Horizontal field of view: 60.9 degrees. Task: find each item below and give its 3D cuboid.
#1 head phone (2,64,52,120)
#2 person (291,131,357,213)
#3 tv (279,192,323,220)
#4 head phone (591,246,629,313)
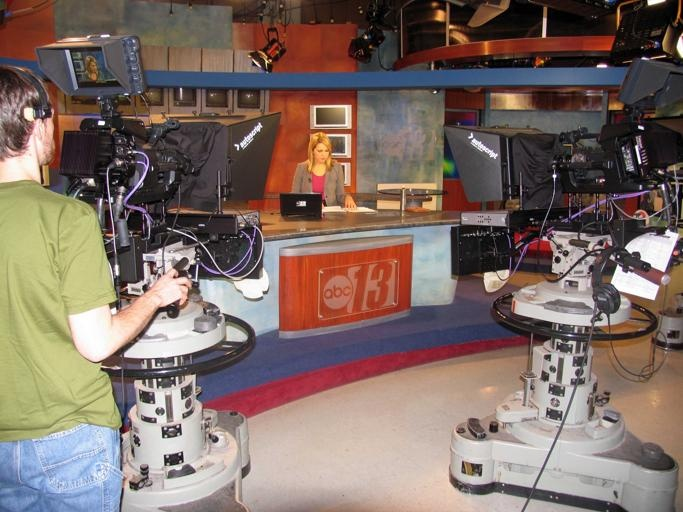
[{"bbox_3d":[-0.978,-0.501,1.820,0.150,0.179,0.069,-4,6,3],"label":"head phone"},{"bbox_3d":[-0.228,-0.796,5.941,0.601,0.888,0.504,-1,6,-8],"label":"person"},{"bbox_3d":[-0.376,-0.468,5.349,0.361,0.238,0.253,2,15,6],"label":"tv"},{"bbox_3d":[1.266,0.109,2.724,0.149,0.396,0.317,2,3,38],"label":"head phone"}]
